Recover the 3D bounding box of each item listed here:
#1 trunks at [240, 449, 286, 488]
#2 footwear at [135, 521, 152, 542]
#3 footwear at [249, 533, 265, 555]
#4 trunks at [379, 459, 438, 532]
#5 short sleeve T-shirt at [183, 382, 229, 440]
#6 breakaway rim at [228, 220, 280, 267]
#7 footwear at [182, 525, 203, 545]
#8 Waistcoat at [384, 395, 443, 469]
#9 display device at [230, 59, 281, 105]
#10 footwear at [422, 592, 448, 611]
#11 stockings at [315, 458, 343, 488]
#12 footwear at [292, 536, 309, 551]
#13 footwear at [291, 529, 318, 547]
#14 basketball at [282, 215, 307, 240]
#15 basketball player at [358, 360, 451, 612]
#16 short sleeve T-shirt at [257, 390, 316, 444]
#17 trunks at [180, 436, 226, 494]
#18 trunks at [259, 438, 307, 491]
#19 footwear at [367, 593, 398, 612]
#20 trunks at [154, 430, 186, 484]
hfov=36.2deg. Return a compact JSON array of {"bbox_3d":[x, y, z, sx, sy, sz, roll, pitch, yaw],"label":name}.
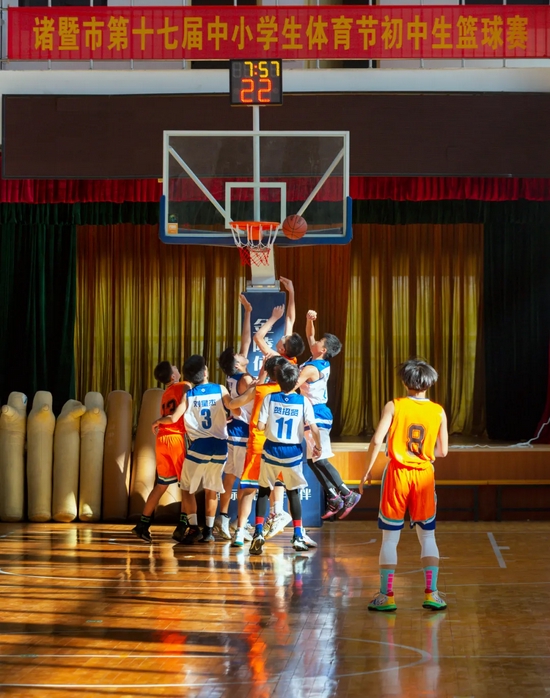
[{"bbox_3d":[-0.060,0.710,5.124,0.215,0.331,0.160,8,5,19],"label":"trunks"},{"bbox_3d":[-0.875,1.214,5.611,0.114,0.156,0.274,0,-3,-8],"label":"footwear"},{"bbox_3d":[-0.098,1.170,5.096,0.059,0.157,0.068,7,36,-6],"label":"footwear"},{"bbox_3d":[0.598,0.601,3.703,0.235,0.398,0.156,6,25,14],"label":"trunks"},{"bbox_3d":[-0.424,0.401,5.360,0.249,0.414,0.195,-5,2,9],"label":"short sleeve T-shirt"},{"bbox_3d":[-0.131,-0.744,5.754,0.327,0.285,0.316,0,-3,-10],"label":"breakaway rim"},{"bbox_3d":[-0.534,1.229,5.569,0.152,0.136,0.080,-4,-1,18],"label":"footwear"},{"bbox_3d":[0.637,0.319,3.758,0.207,0.362,0.185,6,36,8],"label":"Waistcoat"},{"bbox_3d":[-0.126,-1.771,5.579,0.227,0.258,0.092,0,-4,1],"label":"display device"},{"bbox_3d":[0.715,1.122,3.752,0.055,0.087,0.151,1,-10,33],"label":"footwear"},{"bbox_3d":[0.357,0.832,5.614,0.184,0.204,0.151,-1,-2,3],"label":"stockings"},{"bbox_3d":[0.157,1.201,5.185,0.050,0.075,0.143,-1,-5,7],"label":"footwear"},{"bbox_3d":[0.211,1.216,5.448,0.083,0.140,0.258,-3,-8,40],"label":"footwear"},{"bbox_3d":[0.128,-0.817,5.641,0.155,0.155,0.197,0,-3,-2],"label":"basketball"},{"bbox_3d":[0.592,0.573,3.810,0.340,1.239,0.334,0,15,1],"label":"basketball player"},{"bbox_3d":[0.064,0.422,4.928,0.329,0.385,0.203,7,-23,-2],"label":"short sleeve T-shirt"},{"bbox_3d":[-0.450,0.750,5.373,0.302,0.368,0.184,0,-2,-8],"label":"trunks"},{"bbox_3d":[0.054,0.659,4.994,0.280,0.361,0.162,10,19,8],"label":"trunks"},{"bbox_3d":[0.485,1.130,3.811,0.059,0.080,0.145,2,-2,-28],"label":"footwear"},{"bbox_3d":[-0.672,0.705,5.549,0.203,0.369,0.173,1,11,13],"label":"trunks"}]
